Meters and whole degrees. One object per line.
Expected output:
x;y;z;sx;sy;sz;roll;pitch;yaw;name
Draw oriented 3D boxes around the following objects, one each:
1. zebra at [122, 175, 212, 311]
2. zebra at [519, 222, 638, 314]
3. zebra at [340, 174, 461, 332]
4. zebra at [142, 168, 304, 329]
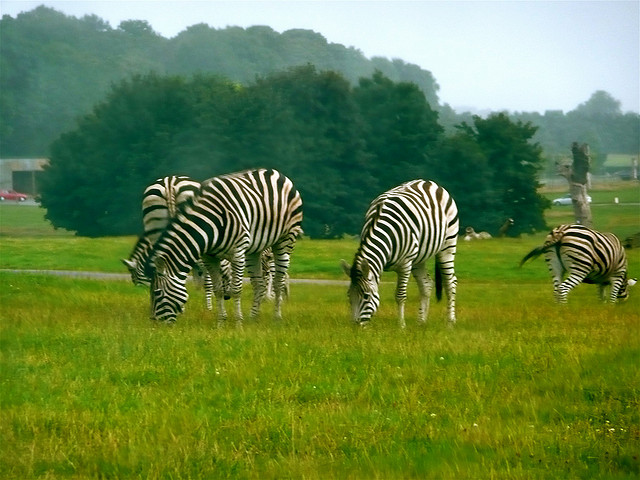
-5.265;-0.678;32.925;1.604;3.112;6.046;-1;6;19;zebra
9.457;1.014;37.443;3.421;3.250;4.570;3;8;28;zebra
2.548;0.746;32.958;2.190;4.906;7.257;-4;4;29;zebra
-2.989;0.138;32.357;4.729;4.852;1.593;-2;5;-38;zebra
